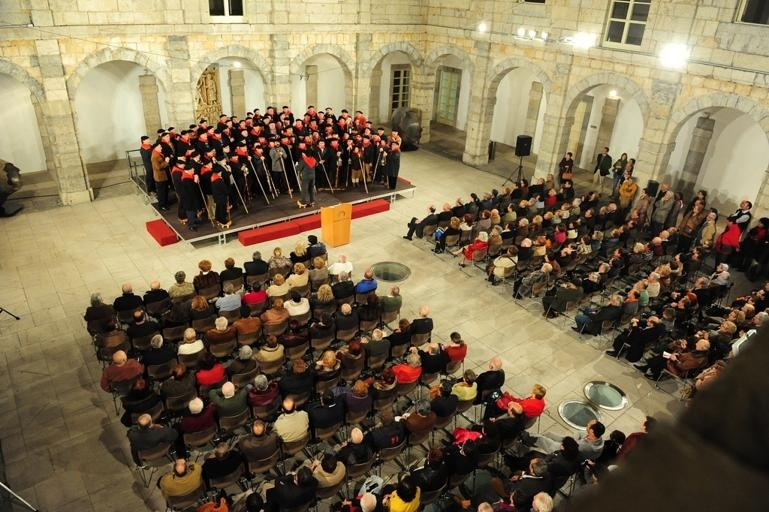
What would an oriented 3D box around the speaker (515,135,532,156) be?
[{"bbox_3d":[5.095,-4.053,18.825,0.751,0.743,0.250,-20,34,-34],"label":"speaker"}]
